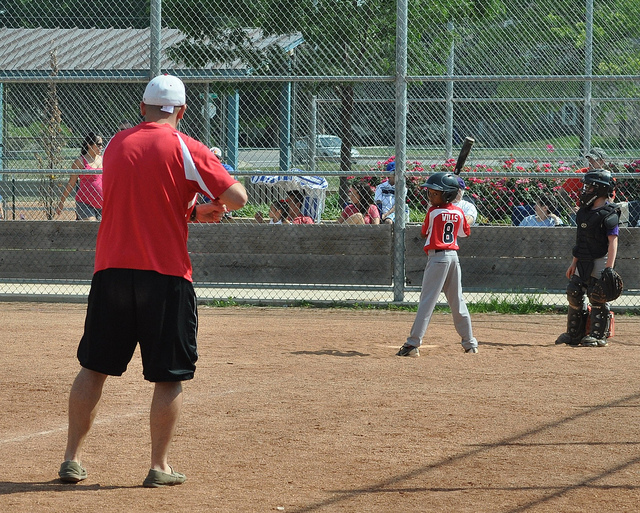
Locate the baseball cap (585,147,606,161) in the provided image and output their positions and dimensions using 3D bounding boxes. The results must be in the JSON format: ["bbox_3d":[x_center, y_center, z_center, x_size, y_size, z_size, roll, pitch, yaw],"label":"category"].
[{"bbox_3d":[3.417,-1.244,14.470,0.169,0.128,0.258,-3,-14,41],"label":"baseball cap"}]

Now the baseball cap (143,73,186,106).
[{"bbox_3d":[-1.222,-1.311,9.303,0.378,0.234,0.544,1,23,-4],"label":"baseball cap"}]

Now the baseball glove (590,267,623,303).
[{"bbox_3d":[3.089,0.319,12.651,0.322,0.402,0.135,4,14,12],"label":"baseball glove"}]

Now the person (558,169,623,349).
[{"bbox_3d":[2.993,0.041,12.732,0.572,1.882,0.652,4,14,11],"label":"person"}]

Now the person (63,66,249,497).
[{"bbox_3d":[-1.288,0.213,9.101,1.007,3.079,1.197,6,15,21],"label":"person"}]

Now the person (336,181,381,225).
[{"bbox_3d":[0.561,-0.615,15.863,0.710,0.727,0.450,3,0,23],"label":"person"}]

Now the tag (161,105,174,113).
[{"bbox_3d":[-1.197,-1.148,9.227,0.064,0.060,0.007,2,2,1],"label":"tag"}]
